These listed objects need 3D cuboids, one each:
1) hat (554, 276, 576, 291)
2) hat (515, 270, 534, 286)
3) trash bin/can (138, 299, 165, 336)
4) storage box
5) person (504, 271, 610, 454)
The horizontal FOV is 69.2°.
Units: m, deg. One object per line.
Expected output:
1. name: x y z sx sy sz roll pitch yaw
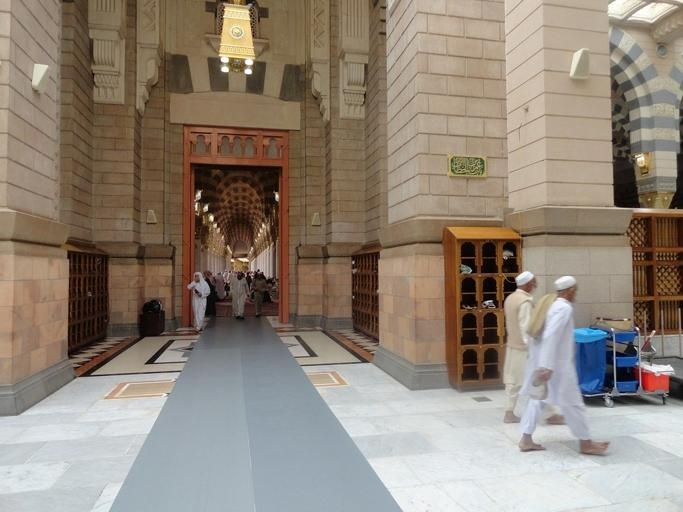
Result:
1. hat: 2.323 0.299 5.156 0.149 0.123 0.218 -9 -2 -1
2. hat: 2.131 0.288 5.830 0.165 0.092 0.234 -25 9 -5
3. trash bin/can: -4.725 1.543 12.302 0.601 0.836 0.550 -2 3 -23
4. storage box: 3.748 1.432 6.847 0.724 1.168 0.893 1 -8 -4
5. person: 2.172 1.130 5.032 0.600 1.792 0.337 -1 3 -14
